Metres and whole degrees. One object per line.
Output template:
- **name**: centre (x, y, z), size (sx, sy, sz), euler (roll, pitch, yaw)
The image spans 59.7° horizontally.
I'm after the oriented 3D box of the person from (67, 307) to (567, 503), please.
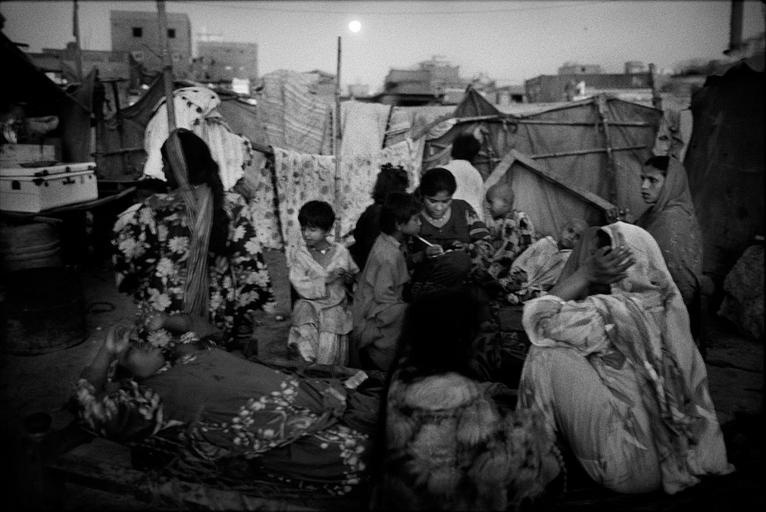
- **person**: centre (-0.355, 0.842, 4.376), size (2.546, 0.949, 1.373), euler (-4, 7, 14)
